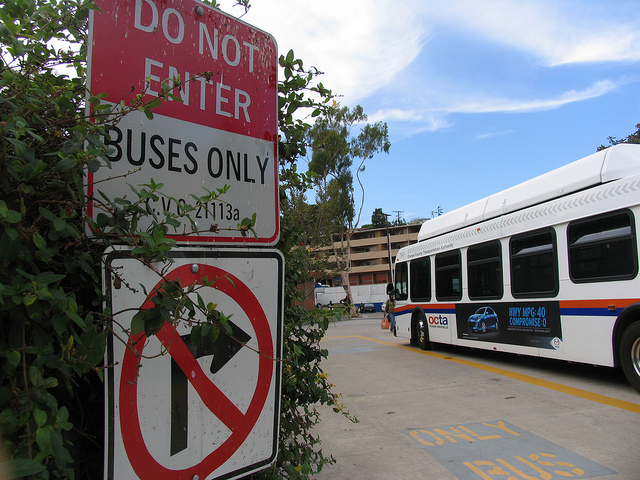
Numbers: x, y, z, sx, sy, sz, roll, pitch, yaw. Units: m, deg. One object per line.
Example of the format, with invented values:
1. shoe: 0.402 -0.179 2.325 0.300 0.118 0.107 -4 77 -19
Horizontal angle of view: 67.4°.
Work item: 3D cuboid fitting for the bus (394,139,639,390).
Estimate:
1. bus: 3.736 0.640 9.701 0.983 3.564 6.215 0 -6 -21
